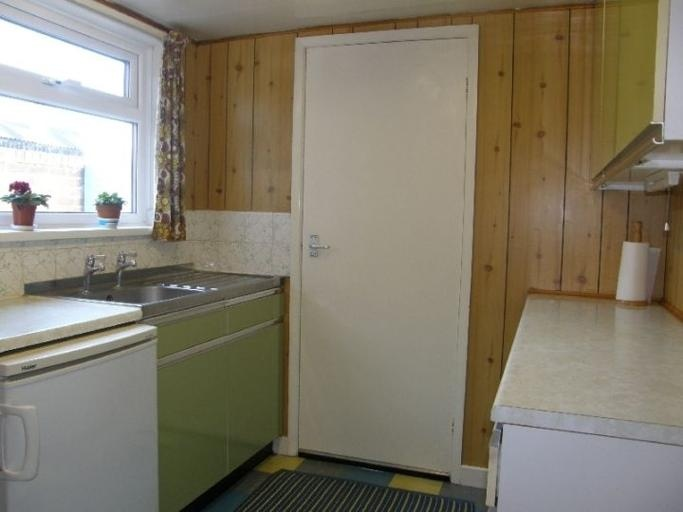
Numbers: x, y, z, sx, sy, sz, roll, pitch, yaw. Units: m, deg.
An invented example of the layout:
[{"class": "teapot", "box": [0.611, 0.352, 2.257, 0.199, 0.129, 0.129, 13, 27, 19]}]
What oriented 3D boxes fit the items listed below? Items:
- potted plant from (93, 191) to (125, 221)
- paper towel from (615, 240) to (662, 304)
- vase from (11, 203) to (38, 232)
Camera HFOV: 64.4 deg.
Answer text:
[{"class": "potted plant", "box": [-1.272, -0.275, 2.973, 0.141, 0.136, 0.146, 6, 10, 31]}, {"class": "paper towel", "box": [1.457, 0.080, 2.650, 0.200, 0.297, 0.101, -1, 7, -16]}, {"class": "vase", "box": [-1.490, -0.184, 2.548, 0.105, 0.107, 0.121, 3, 2, 25]}]
